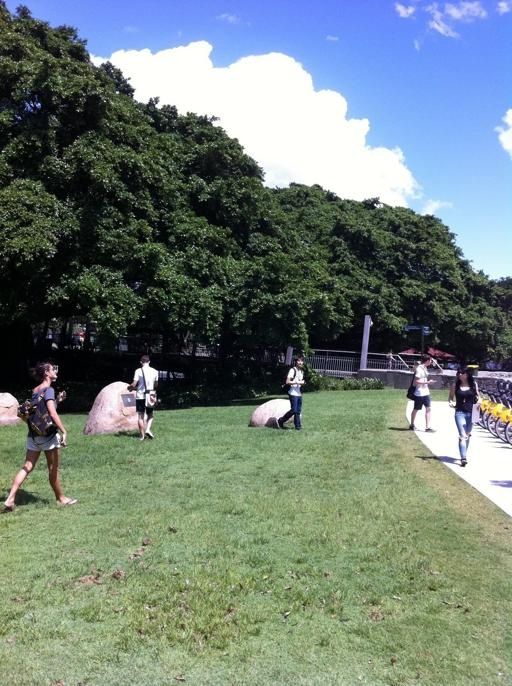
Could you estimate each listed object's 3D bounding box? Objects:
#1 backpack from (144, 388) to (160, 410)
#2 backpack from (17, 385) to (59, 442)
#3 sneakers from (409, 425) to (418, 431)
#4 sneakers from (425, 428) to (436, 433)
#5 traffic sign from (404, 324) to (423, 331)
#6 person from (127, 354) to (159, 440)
[{"bbox_3d":[-1.991,1.075,11.935,0.184,0.373,0.414,2,3,-7],"label":"backpack"},{"bbox_3d":[-2.498,0.904,7.011,0.260,0.458,0.402,25,11,5],"label":"backpack"},{"bbox_3d":[3.513,1.898,14.052,0.118,0.152,0.385,2,3,23],"label":"sneakers"},{"bbox_3d":[3.852,1.938,13.889,0.233,0.107,0.077,2,2,-21],"label":"sneakers"},{"bbox_3d":[9.471,-0.922,38.108,0.511,0.367,2.063,7,-2,10],"label":"traffic sign"},{"bbox_3d":[-2.169,1.054,12.138,0.516,1.687,1.467,2,3,-10],"label":"person"}]
